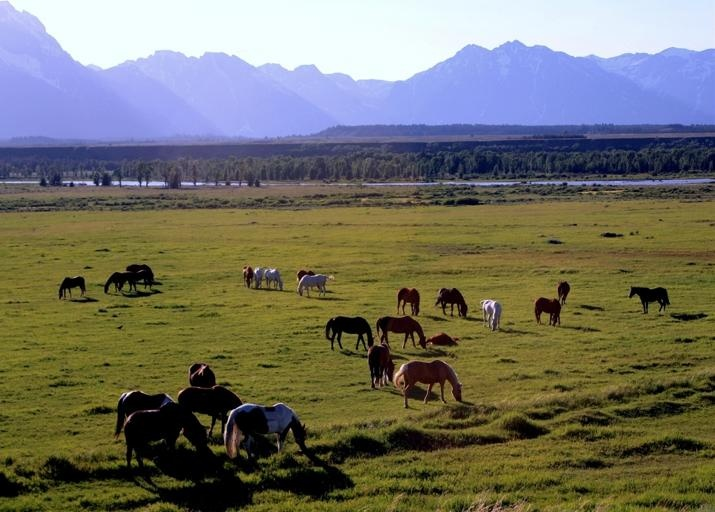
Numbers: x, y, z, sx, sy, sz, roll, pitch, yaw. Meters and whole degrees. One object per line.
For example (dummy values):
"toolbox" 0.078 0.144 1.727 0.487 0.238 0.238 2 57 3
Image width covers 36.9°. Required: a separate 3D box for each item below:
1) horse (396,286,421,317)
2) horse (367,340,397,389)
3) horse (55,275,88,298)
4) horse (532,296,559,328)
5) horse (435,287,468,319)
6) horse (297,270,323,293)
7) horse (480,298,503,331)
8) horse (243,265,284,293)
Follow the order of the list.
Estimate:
"horse" 3.918 3.421 82.908 1.734 2.003 2.155 0 9 2
"horse" 1.610 7.414 72.262 1.683 2.765 0.975 -2 9 -9
"horse" -23.300 2.412 87.373 2.095 1.581 3.071 -2 10 -8
"horse" 14.354 4.098 80.529 1.966 1.891 1.557 4 10 25
"horse" 7.243 3.497 82.960 1.999 2.031 3.384 -5 11 -26
"horse" -3.913 2.242 88.582 2.227 1.638 2.705 -3 10 -11
"horse" 9.994 4.284 79.952 1.355 2.044 2.321 0 9 5
"horse" -8.013 1.788 90.985 3.506 1.795 3.357 -1 10 0
